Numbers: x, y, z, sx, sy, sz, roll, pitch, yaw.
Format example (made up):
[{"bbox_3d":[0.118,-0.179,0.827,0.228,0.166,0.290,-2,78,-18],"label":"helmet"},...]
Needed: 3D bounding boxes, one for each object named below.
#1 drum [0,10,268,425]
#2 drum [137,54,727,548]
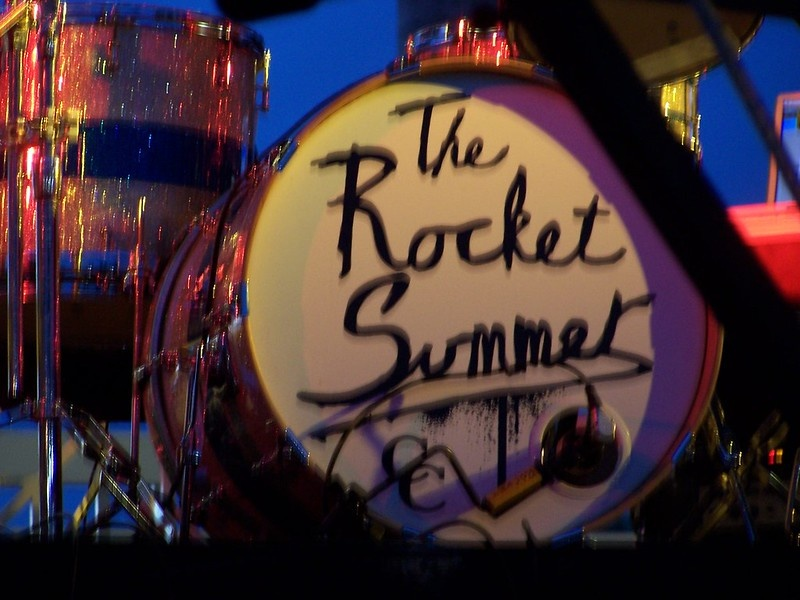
[{"bbox_3d":[-0.457,-0.169,2.615,0.568,0.694,0.564,-1,-3,38],"label":"drum"},{"bbox_3d":[0.132,0.134,2.610,0.863,0.999,0.609,2,-29,-6],"label":"drum"}]
